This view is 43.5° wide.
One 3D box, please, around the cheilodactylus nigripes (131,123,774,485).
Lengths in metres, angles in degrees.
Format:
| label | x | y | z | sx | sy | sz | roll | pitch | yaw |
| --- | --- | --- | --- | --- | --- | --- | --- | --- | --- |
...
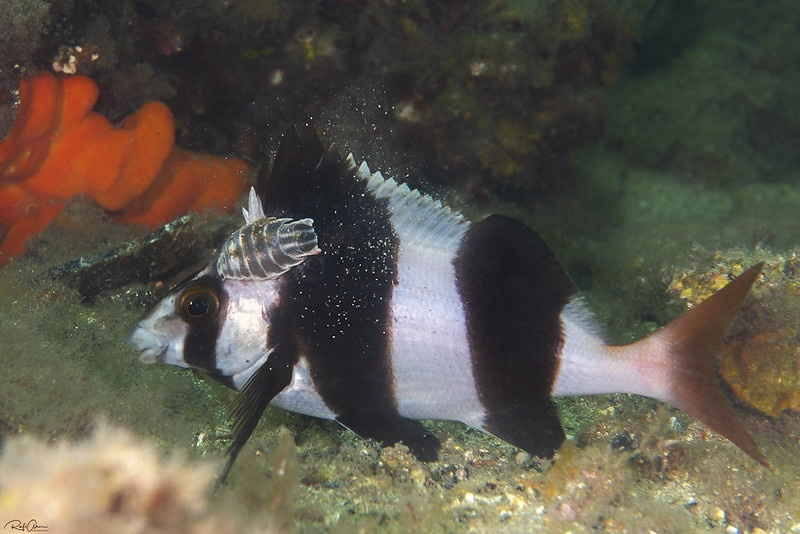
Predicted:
| label | x | y | z | sx | sy | sz | roll | pitch | yaw |
| --- | --- | --- | --- | --- | --- | --- | --- | --- | --- |
| cheilodactylus nigripes | 0.635 | 0.084 | 5.567 | 3.712 | 1.326 | 2.116 | 2 | 99 | 3 |

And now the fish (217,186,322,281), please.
| label | x | y | z | sx | sy | sz | roll | pitch | yaw |
| --- | --- | --- | --- | --- | --- | --- | --- | --- | --- |
| fish | -0.619 | -0.092 | 4.660 | 0.447 | 0.128 | 0.421 | 23 | 79 | 9 |
